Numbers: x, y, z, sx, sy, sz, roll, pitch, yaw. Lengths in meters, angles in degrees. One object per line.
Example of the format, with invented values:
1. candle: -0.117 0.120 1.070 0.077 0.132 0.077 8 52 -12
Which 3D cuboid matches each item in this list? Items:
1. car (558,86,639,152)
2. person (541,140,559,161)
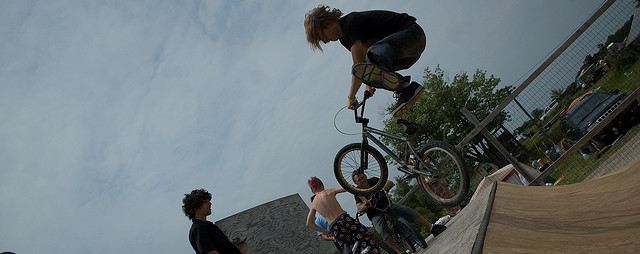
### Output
1. car: 13.475 -0.259 23.429 2.700 1.687 3.648 -45 4 6
2. person: 10.648 1.083 22.822 1.026 0.358 0.279 21 -7 -33
